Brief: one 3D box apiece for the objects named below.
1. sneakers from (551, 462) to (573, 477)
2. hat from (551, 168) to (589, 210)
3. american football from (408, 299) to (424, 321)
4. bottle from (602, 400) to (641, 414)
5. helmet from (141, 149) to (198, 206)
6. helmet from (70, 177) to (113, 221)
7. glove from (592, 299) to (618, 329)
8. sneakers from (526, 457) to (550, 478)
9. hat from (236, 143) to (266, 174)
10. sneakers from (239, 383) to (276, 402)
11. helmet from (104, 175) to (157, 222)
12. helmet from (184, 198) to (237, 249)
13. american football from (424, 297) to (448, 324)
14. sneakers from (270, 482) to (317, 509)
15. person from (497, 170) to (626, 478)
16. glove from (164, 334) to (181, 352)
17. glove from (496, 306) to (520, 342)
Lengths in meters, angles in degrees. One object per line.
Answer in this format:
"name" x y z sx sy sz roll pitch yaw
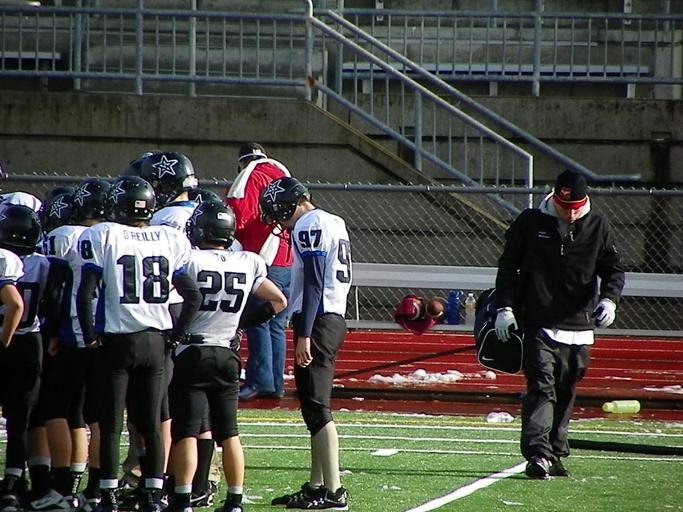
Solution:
"sneakers" 2.058 2.002 14.923 0.191 0.135 0.112 18 -6 -10
"hat" 2.193 -0.597 15.040 0.297 0.337 0.412 2 -2 25
"american football" 0.872 0.584 17.890 0.158 0.207 0.207 -4 -5 5
"bottle" 3.077 1.618 17.372 0.325 0.128 0.166 -1 8 -19
"helmet" -1.602 -0.772 15.316 0.538 0.465 0.430 14 2 15
"helmet" -2.332 -0.527 14.836 0.333 0.382 0.424 -4 17 -27
"glove" 2.522 0.573 14.969 0.108 0.248 0.252 35 20 -17
"sneakers" 1.821 1.947 14.695 0.125 0.132 0.280 -2 -23 20
"hat" -0.984 -1.091 17.484 0.287 0.388 0.370 -2 7 -16
"sneakers" -0.908 1.471 17.286 0.446 0.189 0.161 5 -1 -9
"helmet" -1.883 -0.520 14.270 0.365 0.365 0.440 0 6 -31
"helmet" -1.199 -0.308 14.539 0.354 0.381 0.453 2 4 -17
"american football" 1.136 0.594 18.009 0.273 0.274 0.308 -10 -1 9
"sneakers" -0.415 2.135 14.248 0.501 0.211 0.166 -2 10 -9
"person" 2.040 0.622 14.920 1.165 2.870 0.641 0 2 5
"glove" -1.517 0.770 14.192 0.116 0.150 0.047 16 28 13
"glove" 1.547 0.633 14.977 0.292 0.293 0.212 -7 -1 11
